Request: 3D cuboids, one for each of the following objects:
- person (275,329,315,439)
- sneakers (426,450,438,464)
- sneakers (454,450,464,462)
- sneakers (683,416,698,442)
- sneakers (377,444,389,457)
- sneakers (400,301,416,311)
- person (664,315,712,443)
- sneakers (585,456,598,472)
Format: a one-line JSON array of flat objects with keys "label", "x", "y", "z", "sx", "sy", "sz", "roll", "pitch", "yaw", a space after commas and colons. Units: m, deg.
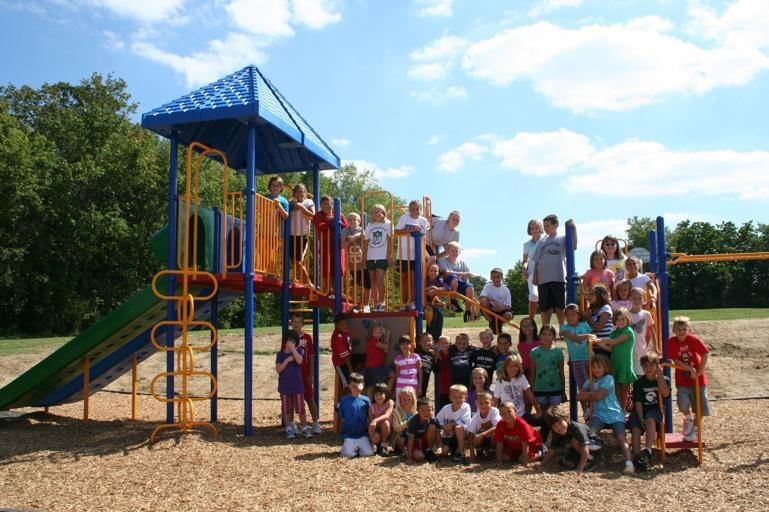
[{"label": "person", "x": -1.938, "y": 2.680, "z": 18.737, "sx": 0.695, "sy": 2.192, "sz": 0.385, "roll": 2, "pitch": -2, "yaw": -5}, {"label": "sneakers", "x": 0.957, "y": 3.893, "z": 17.412, "sx": 0.182, "sy": 0.214, "sz": 0.320, "roll": 0, "pitch": -3, "yaw": 41}, {"label": "sneakers", "x": 1.469, "y": 3.921, "z": 17.409, "sx": 0.196, "sy": 0.173, "sz": 0.156, "roll": 1, "pitch": -2, "yaw": 10}, {"label": "sneakers", "x": 6.101, "y": 3.438, "z": 17.670, "sx": 0.188, "sy": 0.599, "sz": 0.236, "roll": -5, "pitch": -37, "yaw": 33}, {"label": "sneakers", "x": -0.037, "y": 3.825, "z": 17.601, "sx": 0.259, "sy": 0.211, "sz": 0.201, "roll": 2, "pitch": -2, "yaw": 1}, {"label": "sneakers", "x": 0.524, "y": 1.090, "z": 19.175, "sx": 0.221, "sy": 0.221, "sz": 0.180, "roll": 9, "pitch": -12, "yaw": 9}, {"label": "person", "x": 6.069, "y": 2.437, "z": 17.736, "sx": 0.773, "sy": 2.442, "sz": 0.682, "roll": 1, "pitch": -2, "yaw": 10}, {"label": "sneakers", "x": 3.994, "y": 3.960, "z": 16.990, "sx": 0.135, "sy": 0.187, "sz": 0.413, "roll": -11, "pitch": 4, "yaw": 28}]
